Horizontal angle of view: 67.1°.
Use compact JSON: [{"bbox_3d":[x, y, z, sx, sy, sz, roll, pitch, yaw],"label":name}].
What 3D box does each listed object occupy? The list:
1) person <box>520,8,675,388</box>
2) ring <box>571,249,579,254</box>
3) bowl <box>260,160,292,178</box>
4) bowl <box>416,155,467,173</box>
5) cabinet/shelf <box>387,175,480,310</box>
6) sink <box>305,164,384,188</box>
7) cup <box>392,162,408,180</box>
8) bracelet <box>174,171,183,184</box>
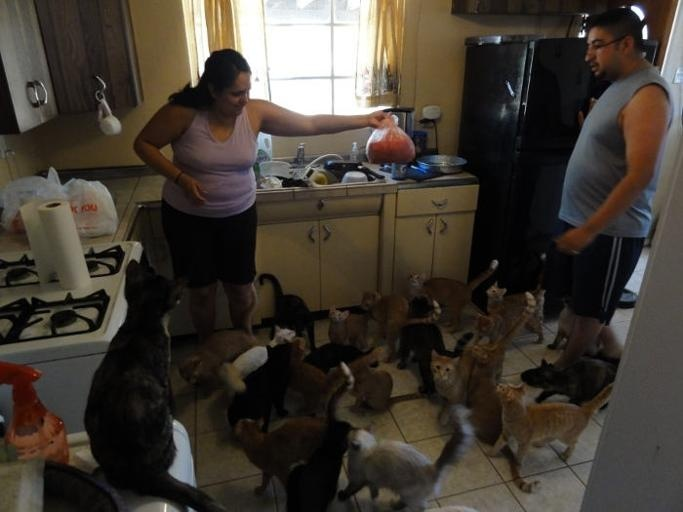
[{"bbox_3d":[1.173,-0.174,2.378,0.435,1.772,0.631,8,23,24],"label":"person"},{"bbox_3d":[1.000,-0.022,2.219,0.017,0.008,0.011,15,60,27],"label":"ring"},{"bbox_3d":[-0.408,-0.539,3.157,0.141,0.059,0.119,7,18,27],"label":"bowl"},{"bbox_3d":[0.638,-0.580,3.324,0.311,0.090,0.357,5,22,15],"label":"bowl"},{"bbox_3d":[0.577,-0.191,3.399,0.509,0.909,0.454,-7,39,-4],"label":"cabinet/shelf"},{"bbox_3d":[0.000,-0.497,3.159,0.281,0.088,0.248,-3,32,-5],"label":"sink"},{"bbox_3d":[0.342,-0.526,3.111,0.092,0.100,0.113,-9,25,-26],"label":"cup"},{"bbox_3d":[-0.709,-0.342,2.238,0.015,0.044,0.036,14,-6,-35],"label":"bracelet"}]
